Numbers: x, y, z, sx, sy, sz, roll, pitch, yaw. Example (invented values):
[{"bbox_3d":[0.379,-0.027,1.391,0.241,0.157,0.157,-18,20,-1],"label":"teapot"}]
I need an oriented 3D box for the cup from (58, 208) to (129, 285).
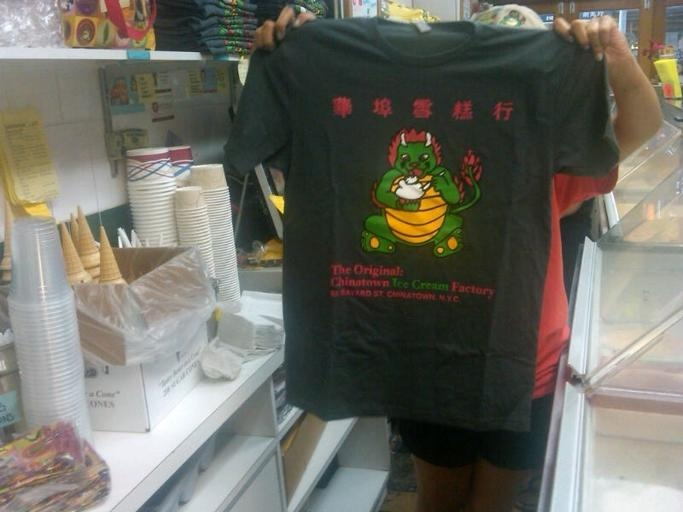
[{"bbox_3d":[-0.746,-0.025,1.813,0.151,0.269,0.130,-9,23,-3],"label":"cup"}]

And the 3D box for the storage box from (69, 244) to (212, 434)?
[{"bbox_3d":[-0.577,0.234,1.778,0.319,0.371,0.470,-1,12,18],"label":"storage box"}]
